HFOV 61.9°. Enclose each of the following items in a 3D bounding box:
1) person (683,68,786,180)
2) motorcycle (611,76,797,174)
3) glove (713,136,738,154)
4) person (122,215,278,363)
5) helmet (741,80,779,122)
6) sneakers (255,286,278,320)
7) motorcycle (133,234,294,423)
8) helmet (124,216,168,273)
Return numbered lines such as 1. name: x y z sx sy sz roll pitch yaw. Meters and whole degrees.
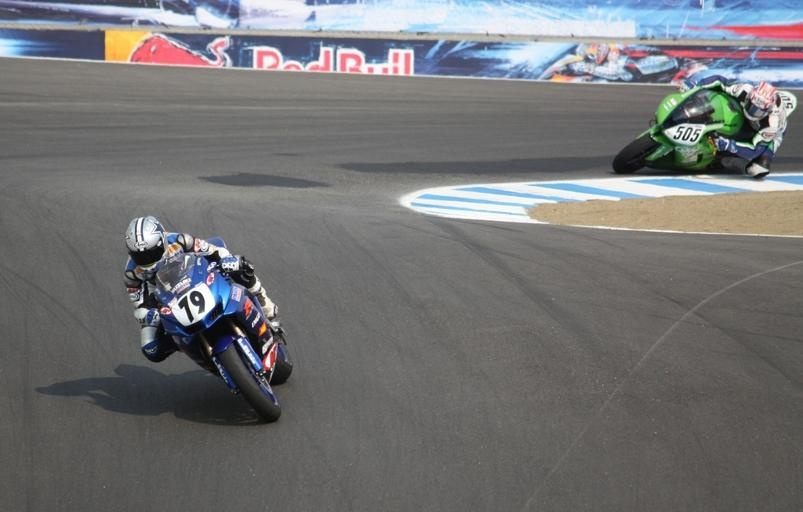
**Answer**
1. person: 5.923 -2.237 11.680 2.291 1.035 1.199 -1 -4 -33
2. motorcycle: 5.630 -2.393 11.796 3.096 1.441 1.646 -6 -12 -26
3. glove: 5.584 -1.907 11.535 0.390 0.270 0.108 4 21 1
4. person: -1.878 0.155 6.094 1.237 1.345 1.183 -13 26 -2
5. helmet: 6.105 -2.597 11.393 0.438 0.565 0.530 39 5 7
6. sneakers: -1.262 0.453 6.240 0.267 0.091 0.185 44 11 -5
7. motorcycle: -1.641 0.629 6.375 1.163 0.818 2.127 41 0 -4
8. helmet: -2.141 -0.107 5.735 0.340 0.411 0.388 -4 -25 3
